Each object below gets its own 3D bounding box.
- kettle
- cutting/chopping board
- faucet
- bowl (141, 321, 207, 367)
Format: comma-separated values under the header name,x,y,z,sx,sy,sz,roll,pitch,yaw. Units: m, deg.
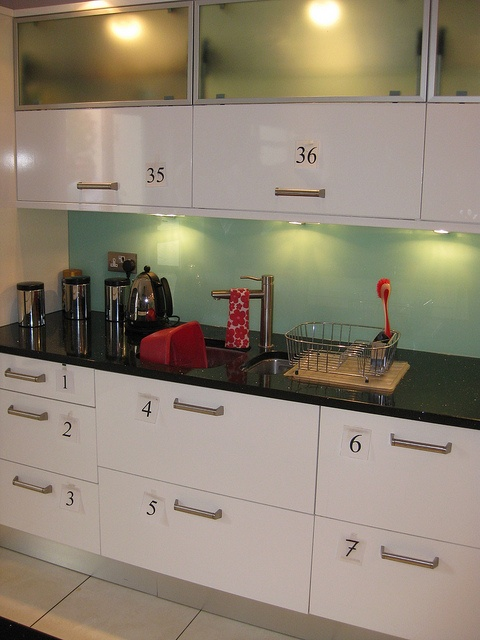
name,x,y,z,sx,sy,sz,roll,pitch,yaw
kettle,-0.360,-0.100,2.223,0.219,0.265,0.178,12,19,20
cutting/chopping board,0.348,0.155,1.738,0.330,0.038,0.335,7,11,27
faucet,0.040,-0.042,2.086,0.203,0.298,0.144,6,17,12
bowl,-0.253,0.079,1.947,0.218,0.156,0.237,7,18,-2
